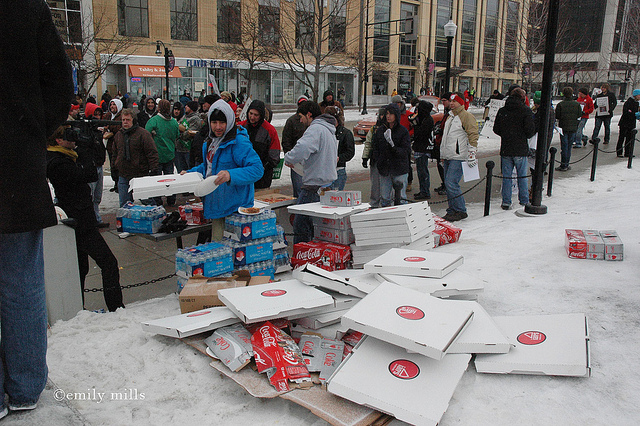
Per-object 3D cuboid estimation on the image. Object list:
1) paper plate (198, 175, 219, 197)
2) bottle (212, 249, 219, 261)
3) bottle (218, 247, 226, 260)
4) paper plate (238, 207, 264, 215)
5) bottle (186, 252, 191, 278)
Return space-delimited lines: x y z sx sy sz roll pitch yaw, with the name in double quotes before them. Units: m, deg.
"paper plate" -1.378 -0.346 5.901 0.224 0.226 0.056 -41 52 -2
"bottle" -1.303 0.528 5.963 0.073 0.125 0.038 0 -7 -15
"bottle" -1.237 0.505 6.017 0.112 0.040 0.111 6 26 -3
"paper plate" -0.917 -0.038 6.362 0.339 0.098 0.174 -5 14 -8
"bottle" -1.622 0.643 5.903 0.081 0.260 0.165 -7 14 -15
